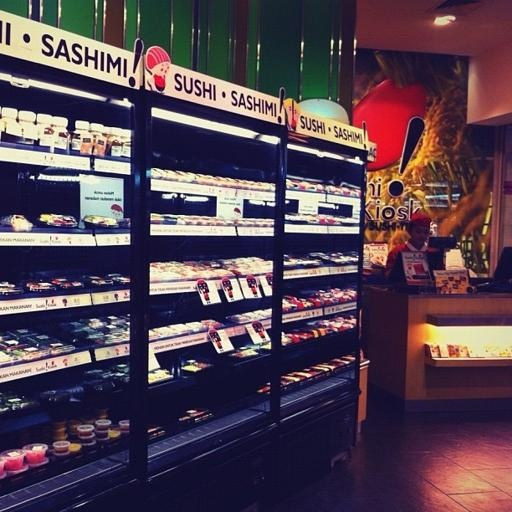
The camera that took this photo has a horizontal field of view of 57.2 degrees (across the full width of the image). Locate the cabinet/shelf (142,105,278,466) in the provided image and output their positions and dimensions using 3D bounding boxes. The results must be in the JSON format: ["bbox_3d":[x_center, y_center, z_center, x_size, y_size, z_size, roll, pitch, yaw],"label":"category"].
[{"bbox_3d":[-0.255,0.117,2.587,0.608,1.617,1.203,2,1,42],"label":"cabinet/shelf"}]

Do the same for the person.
[{"bbox_3d":[1.709,-0.076,5.115,0.547,0.812,1.106,2,1,16],"label":"person"}]

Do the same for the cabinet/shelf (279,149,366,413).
[{"bbox_3d":[0.421,0.166,3.264,0.504,1.773,1.018,2,1,34],"label":"cabinet/shelf"}]
